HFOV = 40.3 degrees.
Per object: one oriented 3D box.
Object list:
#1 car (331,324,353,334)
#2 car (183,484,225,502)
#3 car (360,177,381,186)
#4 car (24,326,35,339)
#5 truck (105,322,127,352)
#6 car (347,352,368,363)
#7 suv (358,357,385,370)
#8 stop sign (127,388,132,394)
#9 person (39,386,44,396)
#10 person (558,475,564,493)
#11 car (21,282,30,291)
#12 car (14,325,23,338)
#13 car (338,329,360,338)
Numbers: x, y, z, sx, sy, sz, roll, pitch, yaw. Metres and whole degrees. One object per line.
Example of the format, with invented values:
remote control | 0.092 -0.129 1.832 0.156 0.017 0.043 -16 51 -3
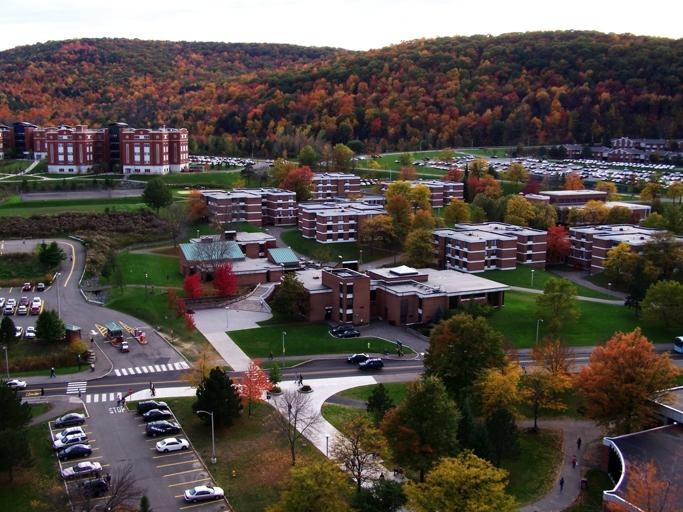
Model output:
car | 0.083 10.651 136.025 2.384 1.115 1.384 0 6 -16
car | -15.076 25.819 101.807 3.879 1.324 1.791 -3 22 -11
car | 6.799 -18.717 231.865 3.887 1.430 7.189 -3 13 -8
car | -43.193 10.550 128.880 1.145 0.950 2.484 -3 6 -20
truck | -31.101 11.379 129.668 2.732 1.213 4.027 -10 33 -35
car | 2.164 13.991 127.525 2.200 1.037 1.302 3 3 -7
suv | 3.877 14.616 126.172 2.340 1.195 1.574 3 2 -10
stop sign | -26.829 17.110 117.985 0.406 0.422 0.750 11 -24 -17
person | -37.590 17.046 117.028 0.699 1.279 0.684 1 0 -29
person | 25.022 25.742 105.814 0.583 1.236 2.059 3 13 17
car | -48.586 4.681 143.679 0.836 0.652 1.774 0 17 -17
car | -44.775 10.236 129.217 0.930 0.726 2.119 -2 19 -17
car | 1.161 11.217 135.139 2.104 0.624 1.312 0 6 -9
